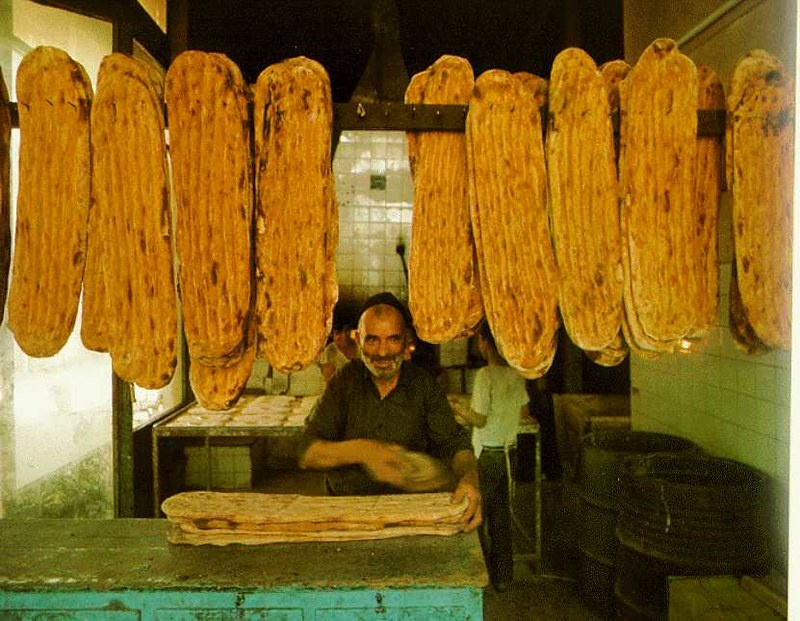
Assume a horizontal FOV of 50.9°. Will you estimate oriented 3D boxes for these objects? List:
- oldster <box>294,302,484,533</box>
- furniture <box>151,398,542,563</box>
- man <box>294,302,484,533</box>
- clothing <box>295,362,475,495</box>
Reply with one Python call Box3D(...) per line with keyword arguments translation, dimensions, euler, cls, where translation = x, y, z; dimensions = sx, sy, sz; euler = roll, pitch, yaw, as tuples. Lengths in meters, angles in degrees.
Box3D(translation=(-0.061, 0.519, 4.593), dimensions=(1.042, 1.843, 1.115), euler=(-1, 0, -4), cls="oldster")
Box3D(translation=(-0.458, 0.769, 4.102), dimensions=(0.901, 0.603, 1.176), euler=(15, -33, -40), cls="furniture")
Box3D(translation=(0.033, 0.812, 4.833), dimensions=(1.090, 1.728, 0.851), euler=(6, 27, 14), cls="man")
Box3D(translation=(-0.082, 0.707, 4.962), dimensions=(1.091, 0.481, 1.369), euler=(4, 23, -6), cls="clothing")
